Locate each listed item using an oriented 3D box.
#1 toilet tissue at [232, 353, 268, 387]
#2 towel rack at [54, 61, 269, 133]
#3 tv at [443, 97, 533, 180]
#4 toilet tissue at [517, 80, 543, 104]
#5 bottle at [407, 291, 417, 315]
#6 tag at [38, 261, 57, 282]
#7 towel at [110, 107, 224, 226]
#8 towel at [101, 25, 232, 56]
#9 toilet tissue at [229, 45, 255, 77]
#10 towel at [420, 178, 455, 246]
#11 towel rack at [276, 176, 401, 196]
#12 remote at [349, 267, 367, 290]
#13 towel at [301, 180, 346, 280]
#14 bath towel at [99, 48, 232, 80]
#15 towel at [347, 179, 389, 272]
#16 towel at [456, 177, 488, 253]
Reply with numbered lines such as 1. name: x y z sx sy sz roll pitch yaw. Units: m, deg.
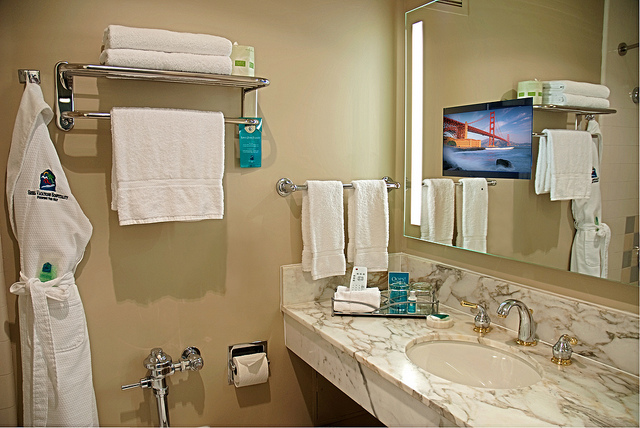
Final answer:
1. toilet tissue: -0.364 0.798 2.484 0.208 0.178 0.154 0 0 -25
2. towel rack: -0.675 -0.531 2.239 1.052 0.361 0.279 -3 20 -27
3. tv: 0.839 -0.374 2.284 0.008 0.321 0.443 -4 7 -37
4. toilet tissue: 0.961 -0.554 2.119 0.107 0.115 0.101 6 15 21
5. bottle: 0.471 0.454 2.386 0.049 0.107 0.066 -2 3 11
6. tag: -1.212 0.257 2.057 0.063 0.080 0.024 5 -1 -30
7. towel: -0.728 -0.228 2.141 0.547 0.516 0.157 -2 5 -26
8. towel: -0.704 -0.783 2.204 0.558 0.131 0.448 0 19 -16
9. toilet tissue: -0.384 -0.744 2.245 0.121 0.162 0.052 3 38 -5
10. towel: 0.639 -0.017 2.542 0.077 0.296 0.298 -3 3 -39
11. towel rack: 0.117 -0.157 2.568 0.729 0.107 0.106 -4 3 -21
12. remote: 0.195 0.340 2.444 0.093 0.107 0.089 -3 3 3
13. towel: 0.021 0.080 2.493 0.199 0.565 0.144 -1 11 -17
14. bath towel: -0.670 -0.638 2.044 0.518 0.120 0.321 0 11 -27
15. towel: 0.263 0.055 2.637 0.283 0.585 0.168 -1 4 -9
16. towel: 0.778 0.003 2.378 0.055 0.310 0.210 0 9 -20
